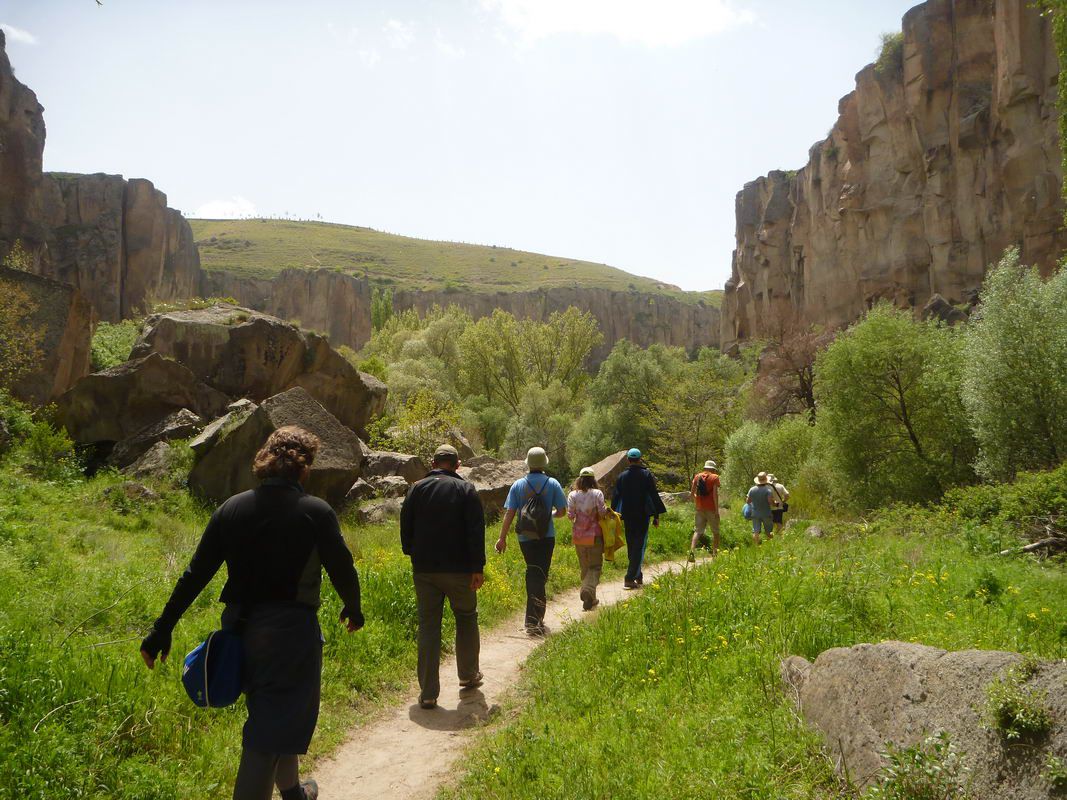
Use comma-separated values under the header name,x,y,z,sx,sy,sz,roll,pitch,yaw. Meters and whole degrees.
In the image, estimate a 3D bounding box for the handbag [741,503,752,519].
name,x,y,z,sx,sy,sz,roll,pitch,yaw
handbag,4.974,2.625,20.399,0.131,0.319,0.435,-4,-29,10

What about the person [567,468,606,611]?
name,x,y,z,sx,sy,sz,roll,pitch,yaw
person,0.903,2.358,14.563,0.622,2.414,0.850,-4,6,1

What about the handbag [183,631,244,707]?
name,x,y,z,sx,sy,sz,roll,pitch,yaw
handbag,-3.184,2.685,8.680,0.243,0.803,0.537,-2,-24,20

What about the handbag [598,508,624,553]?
name,x,y,z,sx,sy,sz,roll,pitch,yaw
handbag,1.265,2.198,14.473,0.329,0.870,0.780,-4,6,4

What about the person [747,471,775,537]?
name,x,y,z,sx,sy,sz,roll,pitch,yaw
person,5.210,2.474,20.156,0.613,1.436,1.280,-3,6,14

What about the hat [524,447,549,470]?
name,x,y,z,sx,sy,sz,roll,pitch,yaw
hat,0.035,0.905,13.499,0.265,0.370,0.346,1,5,2

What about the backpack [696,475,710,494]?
name,x,y,z,sx,sy,sz,roll,pitch,yaw
backpack,3.480,1.748,18.140,0.217,0.354,0.291,-1,2,43

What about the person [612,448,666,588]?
name,x,y,z,sx,sy,sz,roll,pitch,yaw
person,1.873,2.137,15.949,0.855,2.617,0.660,-4,6,4
